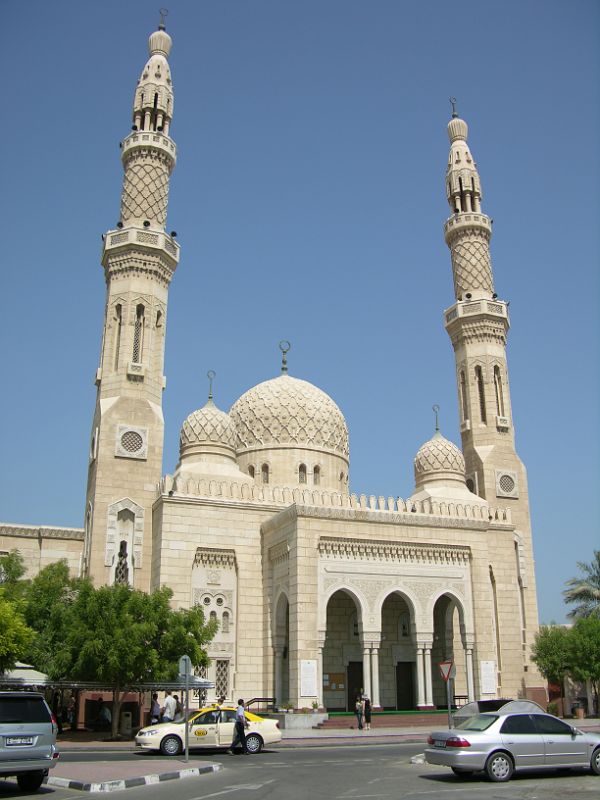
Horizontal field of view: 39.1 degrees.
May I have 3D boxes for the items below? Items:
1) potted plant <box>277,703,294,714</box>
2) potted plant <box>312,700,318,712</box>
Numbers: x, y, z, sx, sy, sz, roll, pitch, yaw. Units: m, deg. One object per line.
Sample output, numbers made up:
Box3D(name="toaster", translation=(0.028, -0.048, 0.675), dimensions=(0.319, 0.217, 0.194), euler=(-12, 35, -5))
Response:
Box3D(name="potted plant", translation=(-0.408, 8.932, 24.343), dimensions=(0.418, 0.364, 0.506), euler=(6, -16, -3))
Box3D(name="potted plant", translation=(0.427, 8.748, 24.061), dimensions=(0.180, 0.277, 0.273), euler=(-2, -20, 1))
